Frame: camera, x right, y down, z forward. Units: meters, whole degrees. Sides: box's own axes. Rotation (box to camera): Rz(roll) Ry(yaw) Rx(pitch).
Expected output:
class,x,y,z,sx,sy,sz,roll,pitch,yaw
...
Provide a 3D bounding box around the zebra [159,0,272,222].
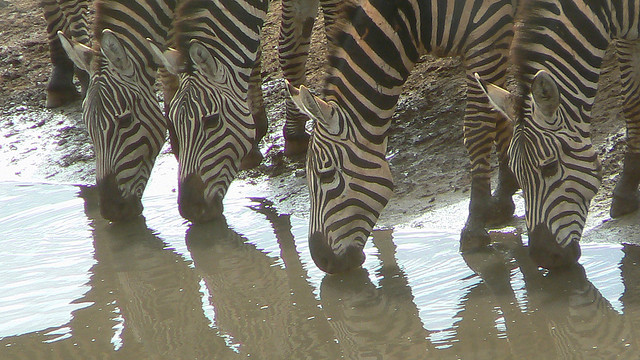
class,x,y,z,sx,sy,sz,roll,pitch,yaw
zebra,-1.162,-0.802,9.313,0.714,2.180,1.419,12,27,36
